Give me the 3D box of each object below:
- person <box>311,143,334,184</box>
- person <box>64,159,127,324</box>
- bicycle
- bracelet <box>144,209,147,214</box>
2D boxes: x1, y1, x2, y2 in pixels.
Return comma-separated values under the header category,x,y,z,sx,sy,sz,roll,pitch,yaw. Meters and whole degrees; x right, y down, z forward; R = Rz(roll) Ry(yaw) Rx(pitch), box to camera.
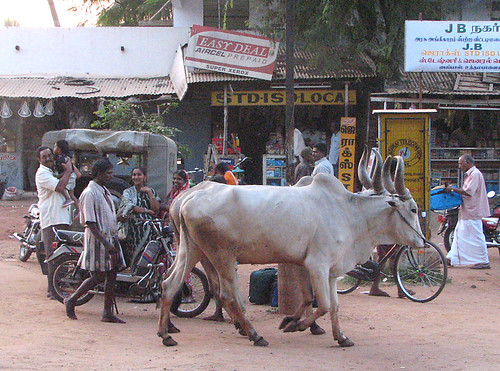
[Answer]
category,x,y,z,sx,sy,sz,roll,pitch,yaw
person,1.528,-0.558,22.730,0.558,1.009,1.083,2,3,6
person,-3.092,1.132,21.185,1.056,3.343,0.555,-1,-4,-9
bicycle,3.115,1.848,22.721,2.224,1.488,1.163,-1,-4,18
bracelet,-2.173,0.522,21.962,0.103,0.116,0.073,-1,-5,-7
